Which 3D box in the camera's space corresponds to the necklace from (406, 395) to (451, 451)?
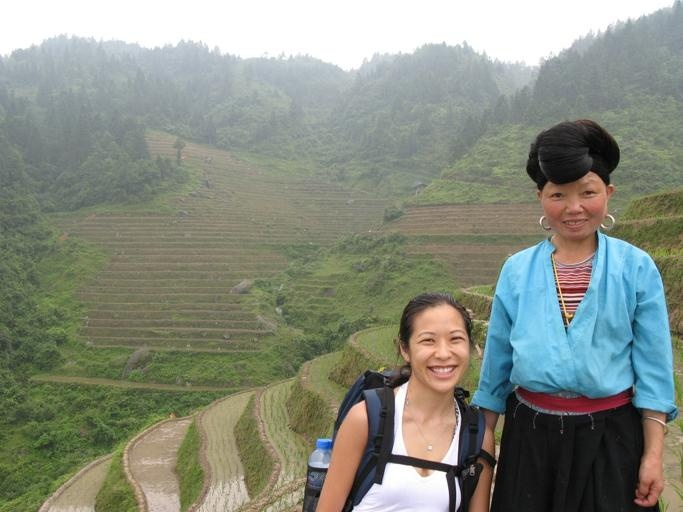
[{"bbox_3d":[0.464,0.917,2.936,0.238,0.323,0.178,4,-21,0],"label":"necklace"}]
